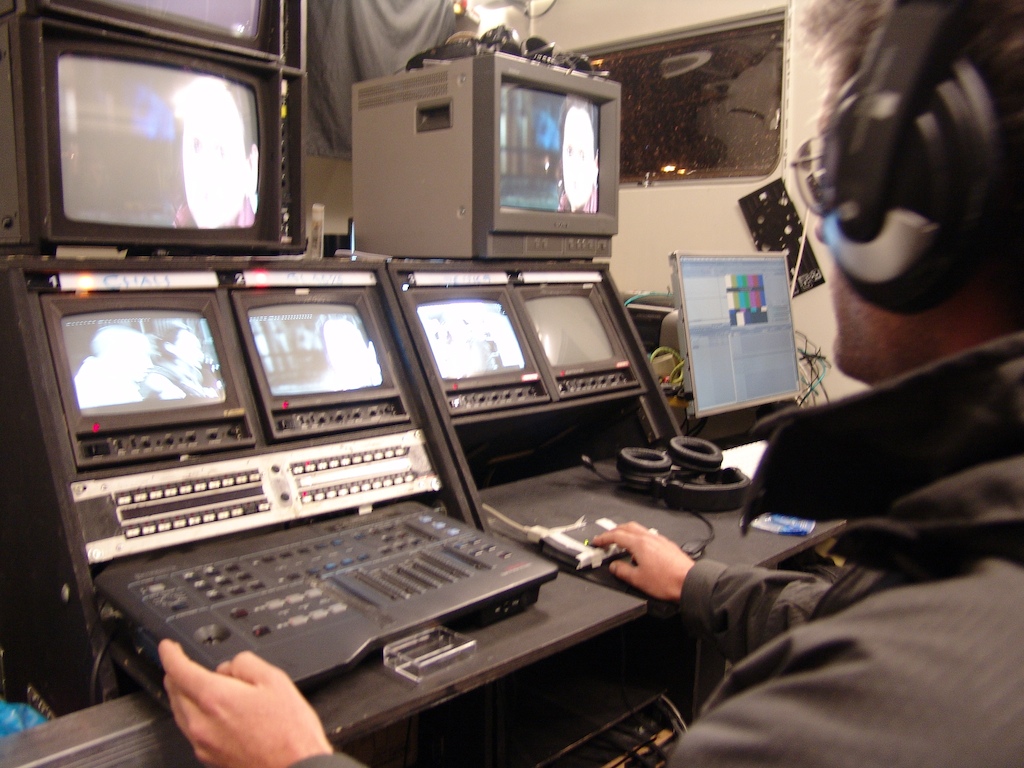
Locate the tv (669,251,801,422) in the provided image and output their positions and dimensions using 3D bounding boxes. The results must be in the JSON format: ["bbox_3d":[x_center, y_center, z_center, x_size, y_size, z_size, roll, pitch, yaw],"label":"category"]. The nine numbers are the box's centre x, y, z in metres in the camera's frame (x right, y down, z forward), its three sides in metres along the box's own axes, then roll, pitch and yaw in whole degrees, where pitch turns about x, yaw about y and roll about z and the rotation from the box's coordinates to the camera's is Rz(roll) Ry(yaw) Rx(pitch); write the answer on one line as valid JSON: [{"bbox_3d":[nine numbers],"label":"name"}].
[{"bbox_3d":[0.734,-0.176,2.501,0.665,0.493,0.080,-8,3,-44],"label":"tv"}]

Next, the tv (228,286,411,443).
[{"bbox_3d":[-0.379,-0.073,1.629,0.338,0.326,0.167,-4,27,19],"label":"tv"}]

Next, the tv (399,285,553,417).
[{"bbox_3d":[-0.086,-0.066,1.850,0.337,0.312,0.088,-7,-15,-42],"label":"tv"}]

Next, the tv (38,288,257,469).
[{"bbox_3d":[-0.692,-0.001,1.443,0.314,0.304,0.181,-7,-10,-43],"label":"tv"}]

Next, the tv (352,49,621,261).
[{"bbox_3d":[-0.088,-0.548,2.284,0.628,0.557,0.619,4,5,35],"label":"tv"}]

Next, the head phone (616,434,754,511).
[{"bbox_3d":[0.414,0.227,1.918,0.200,0.079,0.222,-11,23,-42],"label":"head phone"}]

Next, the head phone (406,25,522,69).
[{"bbox_3d":[-0.133,-0.910,2.127,0.265,0.105,0.159,-13,18,20],"label":"head phone"}]
